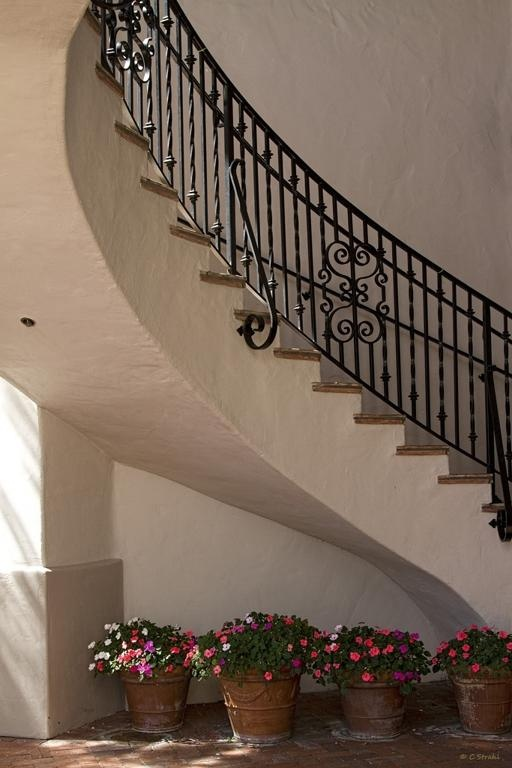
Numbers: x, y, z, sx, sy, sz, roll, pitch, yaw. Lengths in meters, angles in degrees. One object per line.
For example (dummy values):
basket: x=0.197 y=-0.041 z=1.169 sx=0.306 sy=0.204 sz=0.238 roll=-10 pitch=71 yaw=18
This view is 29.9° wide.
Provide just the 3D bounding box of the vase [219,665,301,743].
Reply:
vase: x=0.028 y=1.392 z=4.149 sx=0.311 sy=0.264 sz=0.325 roll=3 pitch=-13 yaw=-17

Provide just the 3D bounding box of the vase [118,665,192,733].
vase: x=-0.468 y=1.413 z=4.486 sx=0.361 sy=0.322 sz=0.391 roll=-1 pitch=5 yaw=3

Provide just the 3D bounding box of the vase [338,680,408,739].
vase: x=0.523 y=1.435 z=4.334 sx=0.316 sy=0.265 sz=0.327 roll=-4 pitch=-11 yaw=11
